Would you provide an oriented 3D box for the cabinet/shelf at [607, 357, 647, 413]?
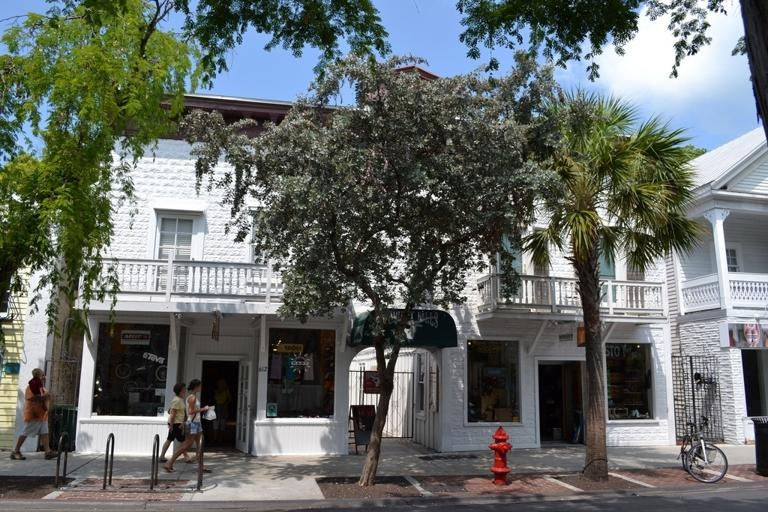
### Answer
[{"bbox_3d":[8.309,4.497,21.787,1.824,1.934,0.643,0,-6,-1],"label":"cabinet/shelf"}]

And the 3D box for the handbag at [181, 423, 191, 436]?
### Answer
[{"bbox_3d":[-4.968,4.358,15.902,0.269,0.421,0.230,2,-6,-12],"label":"handbag"}]

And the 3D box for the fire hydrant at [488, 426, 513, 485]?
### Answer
[{"bbox_3d":[2.944,5.027,16.018,0.461,1.353,1.047,-2,-12,9],"label":"fire hydrant"}]

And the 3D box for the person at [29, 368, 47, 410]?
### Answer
[{"bbox_3d":[-9.125,3.556,16.721,0.495,1.130,0.321,8,-13,-33],"label":"person"}]

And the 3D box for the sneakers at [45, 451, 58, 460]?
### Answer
[{"bbox_3d":[-8.939,5.363,17.070,0.131,0.157,0.366,0,-8,27],"label":"sneakers"}]

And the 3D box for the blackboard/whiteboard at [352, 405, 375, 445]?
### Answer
[{"bbox_3d":[-0.627,5.104,19.198,0.701,1.132,0.707,-1,-11,4],"label":"blackboard/whiteboard"}]

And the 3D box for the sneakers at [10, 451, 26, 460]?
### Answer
[{"bbox_3d":[-9.785,5.325,16.891,0.379,0.161,0.174,6,-3,-3],"label":"sneakers"}]
